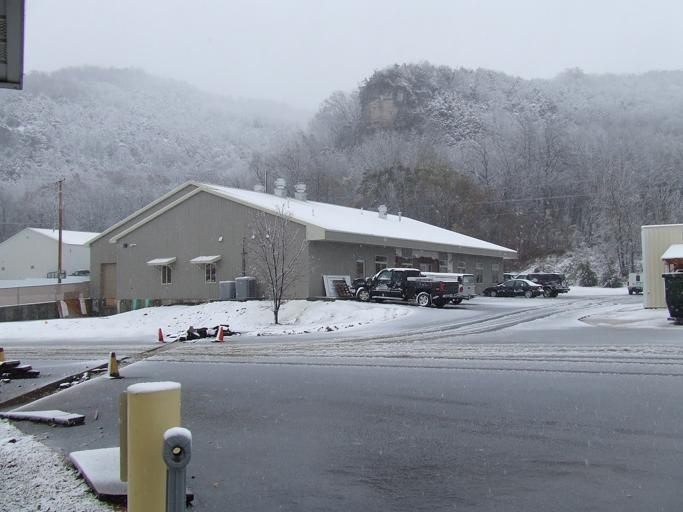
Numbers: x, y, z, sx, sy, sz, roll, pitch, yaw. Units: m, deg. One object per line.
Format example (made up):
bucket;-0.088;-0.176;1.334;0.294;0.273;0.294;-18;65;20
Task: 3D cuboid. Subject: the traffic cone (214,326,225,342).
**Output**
traffic cone;-3.872;2.602;28.423;0.363;0.626;0.435;-4;-11;28

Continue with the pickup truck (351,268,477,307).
pickup truck;3.406;1.472;39.679;4.322;1.733;2.219;3;1;35

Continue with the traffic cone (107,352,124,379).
traffic cone;-5.201;2.567;20.281;0.285;0.608;0.806;-1;-3;-15
